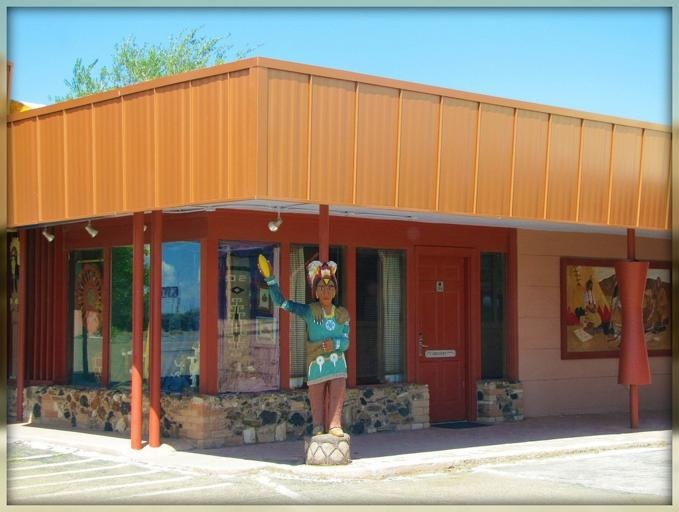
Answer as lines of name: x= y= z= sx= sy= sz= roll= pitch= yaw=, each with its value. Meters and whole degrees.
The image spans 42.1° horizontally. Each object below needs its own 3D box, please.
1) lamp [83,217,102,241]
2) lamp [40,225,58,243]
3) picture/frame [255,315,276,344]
lamp: x=-4.528 y=-0.486 z=16.173 sx=0.186 sy=0.357 sz=0.226 roll=-33 pitch=-2 yaw=11
lamp: x=-5.578 y=-0.403 z=16.922 sx=0.161 sy=0.257 sz=0.140 roll=-29 pitch=-23 yaw=-35
picture/frame: x=-1.299 y=1.302 z=15.126 sx=0.439 sy=0.544 sz=0.052 roll=2 pitch=-7 yaw=-22
